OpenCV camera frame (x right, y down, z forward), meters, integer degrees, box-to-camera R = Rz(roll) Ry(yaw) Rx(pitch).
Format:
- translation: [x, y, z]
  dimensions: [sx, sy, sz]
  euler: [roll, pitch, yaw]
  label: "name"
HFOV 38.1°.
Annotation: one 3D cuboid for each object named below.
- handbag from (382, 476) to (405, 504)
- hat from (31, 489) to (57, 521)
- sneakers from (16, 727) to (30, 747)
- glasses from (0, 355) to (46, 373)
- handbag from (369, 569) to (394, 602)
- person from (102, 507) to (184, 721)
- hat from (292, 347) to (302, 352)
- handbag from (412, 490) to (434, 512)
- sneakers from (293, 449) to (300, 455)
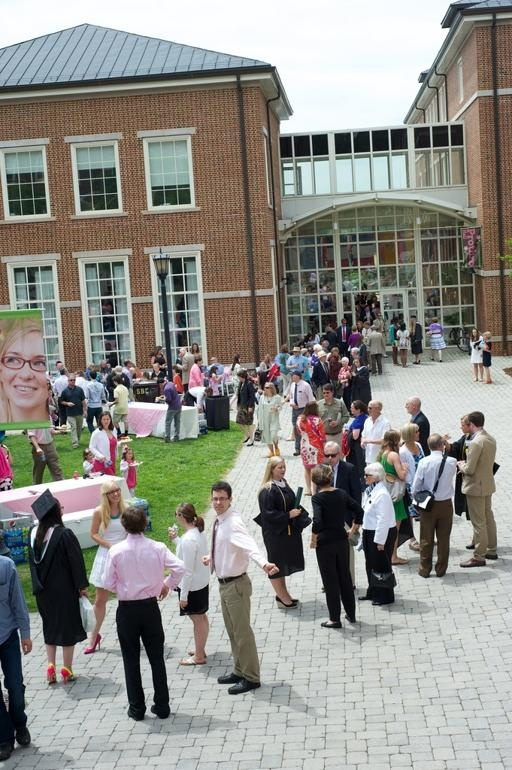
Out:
- translation: [1.634, 1.231, 8.644]
  dimensions: [0.352, 0.266, 0.114]
  euler: [-5, 0, -45]
  label: "handbag"
- translation: [-1.807, 1.021, 6.316]
  dimensions: [0.207, 0.271, 0.356]
  euler: [-5, 0, -17]
  label: "hat"
- translation: [-1.723, 2.572, 5.444]
  dimensions: [0.099, 0.145, 0.182]
  euler: [-5, 0, -18]
  label: "sneakers"
- translation: [-2.255, -0.198, 7.152]
  dimensions: [0.411, 0.179, 0.178]
  euler: [-5, 0, -2]
  label: "glasses"
- translation: [1.352, 2.161, 7.958]
  dimensions: [0.262, 0.375, 0.433]
  euler: [-5, 0, 6]
  label: "handbag"
- translation: [-0.860, 1.740, 5.602]
  dimensions: [0.526, 1.640, 0.323]
  euler: [-5, 0, -10]
  label: "person"
- translation: [1.111, -0.999, 20.446]
  dimensions: [0.229, 0.092, 0.280]
  euler: [1, 4, 1]
  label: "hat"
- translation: [1.877, 1.295, 8.308]
  dimensions: [0.140, 0.240, 0.248]
  euler: [21, -13, -24]
  label: "handbag"
- translation: [0.875, 1.496, 16.310]
  dimensions: [0.169, 0.156, 0.082]
  euler: [2, 5, 12]
  label: "sneakers"
